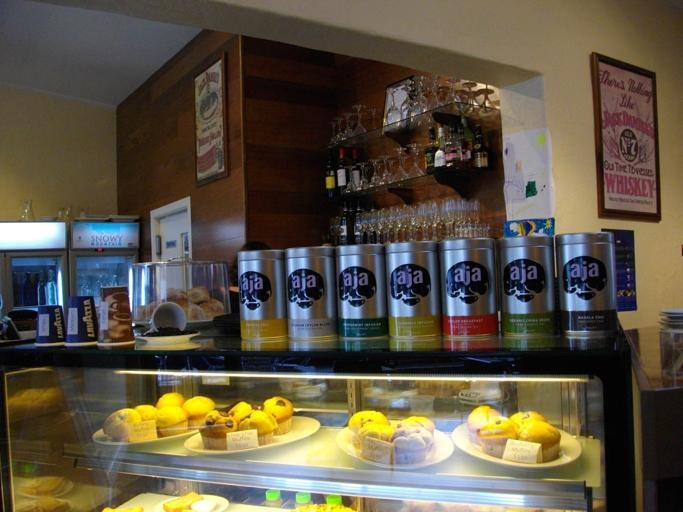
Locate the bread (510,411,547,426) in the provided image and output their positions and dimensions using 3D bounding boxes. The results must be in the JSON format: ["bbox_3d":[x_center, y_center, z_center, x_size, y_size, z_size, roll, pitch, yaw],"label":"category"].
[{"bbox_3d":[0.495,0.431,1.548,0.057,0.031,0.044,2,3,4],"label":"bread"}]

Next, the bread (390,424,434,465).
[{"bbox_3d":[0.199,0.516,1.605,0.105,0.072,0.102,1,-8,-15],"label":"bread"}]

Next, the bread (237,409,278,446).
[{"bbox_3d":[-0.241,0.497,1.673,0.107,0.088,0.085,-2,7,-3],"label":"bread"}]

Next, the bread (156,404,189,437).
[{"bbox_3d":[-0.524,0.495,1.785,0.086,0.082,0.103,0,1,-25],"label":"bread"}]

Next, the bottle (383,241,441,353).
[{"bbox_3d":[0.200,0.099,1.604,0.157,0.278,0.078,0,5,5],"label":"bottle"}]

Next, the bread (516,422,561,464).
[{"bbox_3d":[0.518,0.480,1.539,0.104,0.082,0.103,6,-3,11],"label":"bread"}]

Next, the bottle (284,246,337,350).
[{"bbox_3d":[-0.087,0.116,1.651,0.149,0.279,0.117,-1,5,-2],"label":"bottle"}]

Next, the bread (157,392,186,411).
[{"bbox_3d":[-0.520,0.440,1.766,0.062,0.059,0.059,-8,-12,1],"label":"bread"}]

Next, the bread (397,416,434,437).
[{"bbox_3d":[0.211,0.477,1.628,0.075,0.025,0.057,1,4,2],"label":"bread"}]

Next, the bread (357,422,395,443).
[{"bbox_3d":[0.102,0.495,1.633,0.047,0.021,0.065,4,1,-34],"label":"bread"}]

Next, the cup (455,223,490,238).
[{"bbox_3d":[0.805,-0.166,3.625,0.188,0.080,0.270,3,7,29],"label":"cup"}]

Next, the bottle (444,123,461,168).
[{"bbox_3d":[0.703,-0.694,3.642,0.104,0.246,0.165,0,6,10],"label":"bottle"}]

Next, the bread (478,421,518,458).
[{"bbox_3d":[0.418,0.485,1.567,0.083,0.077,0.098,2,1,-17],"label":"bread"}]

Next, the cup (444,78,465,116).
[{"bbox_3d":[0.729,-1.033,3.696,0.115,0.246,0.366,1,6,12],"label":"cup"}]

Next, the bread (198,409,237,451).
[{"bbox_3d":[-0.364,0.519,1.727,0.109,0.096,0.109,1,1,2],"label":"bread"}]

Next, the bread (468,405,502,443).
[{"bbox_3d":[0.377,0.451,1.552,0.075,0.092,0.097,10,-6,-27],"label":"bread"}]

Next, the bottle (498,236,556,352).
[{"bbox_3d":[0.514,0.088,1.578,0.159,0.281,0.113,0,5,8],"label":"bottle"}]

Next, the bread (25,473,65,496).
[{"bbox_3d":[-0.952,0.735,1.853,0.091,0.029,0.090,3,0,-5],"label":"bread"}]

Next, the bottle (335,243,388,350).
[{"bbox_3d":[0.058,0.106,1.642,0.146,0.276,0.072,-1,5,-1],"label":"bottle"}]

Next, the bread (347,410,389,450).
[{"bbox_3d":[0.078,0.491,1.672,0.103,0.052,0.103,2,3,26],"label":"bread"}]

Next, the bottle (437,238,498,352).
[{"bbox_3d":[0.349,0.094,1.586,0.158,0.284,0.107,1,5,10],"label":"bottle"}]

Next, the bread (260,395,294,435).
[{"bbox_3d":[-0.201,0.471,1.737,0.107,0.099,0.104,0,-7,-12],"label":"bread"}]

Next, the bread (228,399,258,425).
[{"bbox_3d":[-0.296,0.463,1.724,0.055,0.030,0.072,-22,4,-10],"label":"bread"}]

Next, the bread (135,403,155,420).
[{"bbox_3d":[-0.599,0.479,1.774,0.056,0.042,0.042,2,4,9],"label":"bread"}]

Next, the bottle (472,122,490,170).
[{"bbox_3d":[0.862,-0.691,3.645,0.136,0.280,0.130,0,5,0],"label":"bottle"}]

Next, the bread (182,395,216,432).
[{"bbox_3d":[-0.436,0.468,1.757,0.097,0.079,0.096,2,-1,23],"label":"bread"}]

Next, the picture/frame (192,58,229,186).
[{"bbox_3d":[-1.125,-1.142,4.946,0.150,1.015,0.755,-3,6,-26],"label":"picture/frame"}]

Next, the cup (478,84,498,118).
[{"bbox_3d":[0.924,-0.991,3.639,0.125,0.196,0.173,1,6,12],"label":"cup"}]
